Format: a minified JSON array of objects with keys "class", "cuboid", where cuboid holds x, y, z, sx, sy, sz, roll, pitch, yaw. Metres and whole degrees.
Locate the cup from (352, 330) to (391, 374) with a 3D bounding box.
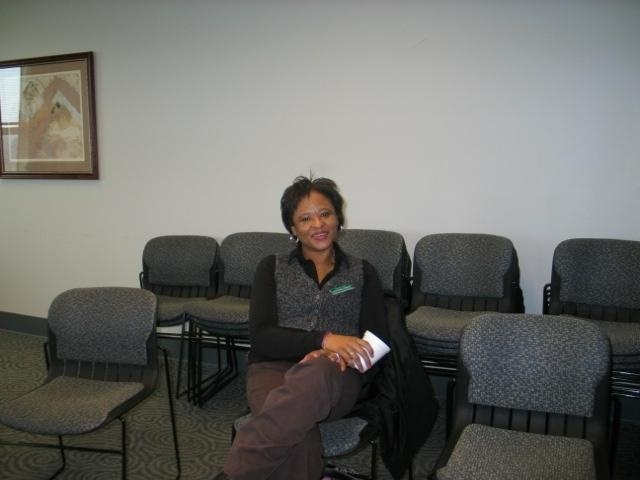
[{"class":"cup","cuboid":[0.228,0.530,2.203,0.184,0.208,0.154,-1,4,-14]}]
